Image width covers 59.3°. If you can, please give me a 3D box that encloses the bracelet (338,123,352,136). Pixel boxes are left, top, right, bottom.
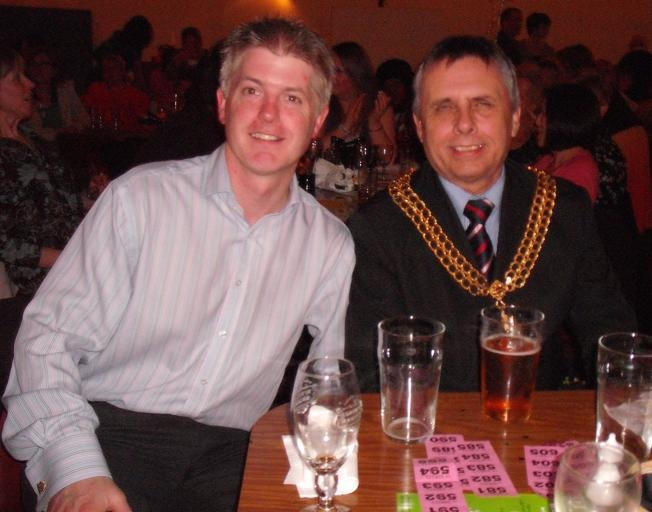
[{"bbox_3d":[0.154,-1.036,4.667,0.120,0.110,0.045,-1,1,-5],"label":"bracelet"}]
